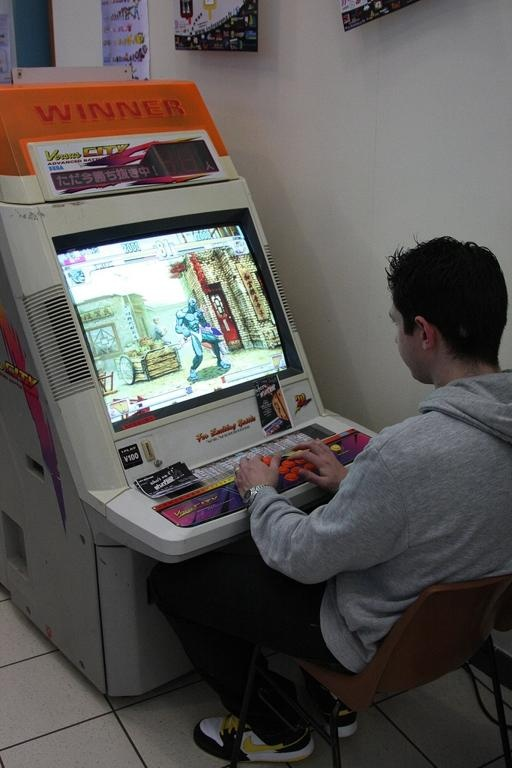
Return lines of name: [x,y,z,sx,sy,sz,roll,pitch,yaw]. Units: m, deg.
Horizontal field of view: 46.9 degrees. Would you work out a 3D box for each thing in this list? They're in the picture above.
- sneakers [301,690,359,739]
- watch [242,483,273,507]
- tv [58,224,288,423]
sneakers: [0.192,0.864,1.582,0.073,0.146,0.213,10,-32,-27]
watch: [0.002,0.220,1.195,0.050,0.019,0.039,-39,-11,20]
tv: [-0.277,-0.161,1.607,0.666,0.541,0.342,-22,10,-41]
